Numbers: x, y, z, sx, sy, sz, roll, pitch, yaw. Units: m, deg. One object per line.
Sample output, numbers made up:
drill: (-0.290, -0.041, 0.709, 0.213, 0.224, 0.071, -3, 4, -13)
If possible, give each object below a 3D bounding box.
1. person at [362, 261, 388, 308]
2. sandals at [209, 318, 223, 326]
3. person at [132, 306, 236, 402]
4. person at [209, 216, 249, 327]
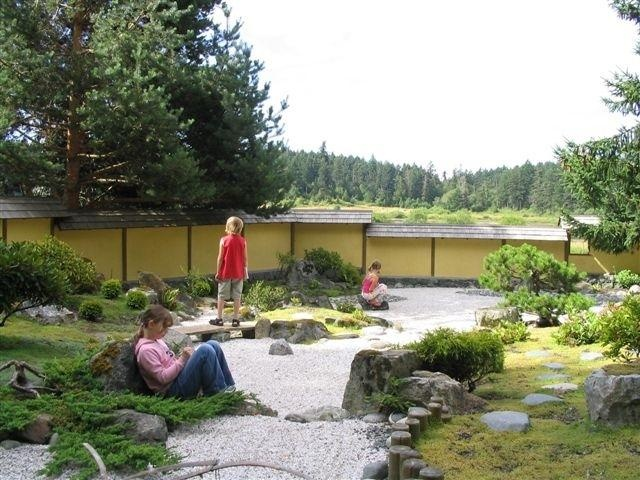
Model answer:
person: (1.694, 1.388, 18.647, 0.745, 1.386, 0.616, 1, -2, -18)
sandals: (-2.257, 1.791, 13.712, 0.349, 0.164, 0.127, 6, 5, 39)
person: (-2.017, 1.702, 9.400, 1.431, 1.560, 1.025, -9, 2, -16)
person: (-1.984, 0.717, 13.820, 0.717, 2.418, 1.245, 0, -2, -9)
